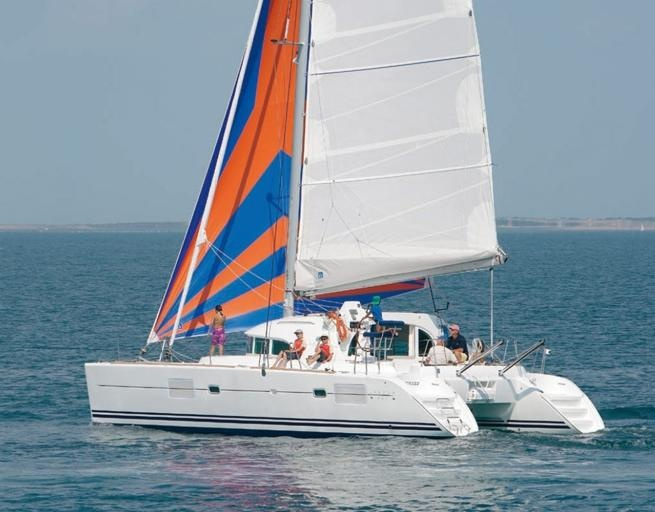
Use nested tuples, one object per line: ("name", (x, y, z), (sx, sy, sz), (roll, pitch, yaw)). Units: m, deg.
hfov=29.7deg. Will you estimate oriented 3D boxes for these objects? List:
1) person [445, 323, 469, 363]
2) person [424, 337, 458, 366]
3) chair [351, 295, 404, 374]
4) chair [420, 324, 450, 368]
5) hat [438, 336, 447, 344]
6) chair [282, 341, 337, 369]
("person", (3.254, 2.414, 32.630), (0.912, 0.958, 0.852), (-2, 3, 15))
("person", (2.938, 2.434, 32.050), (1.093, 0.778, 0.523), (-2, 2, 10))
("chair", (1.188, 2.087, 32.164), (1.114, 1.908, 1.520), (-2, -6, 20))
("chair", (2.851, 2.590, 32.201), (0.685, 0.699, 0.687), (12, -16, -32))
("hat", (3.088, 2.343, 32.892), (0.202, 0.244, 0.072), (0, -17, -11))
("chair", (-0.448, 2.702, 31.934), (1.114, 0.516, 0.723), (-16, 6, -2))
